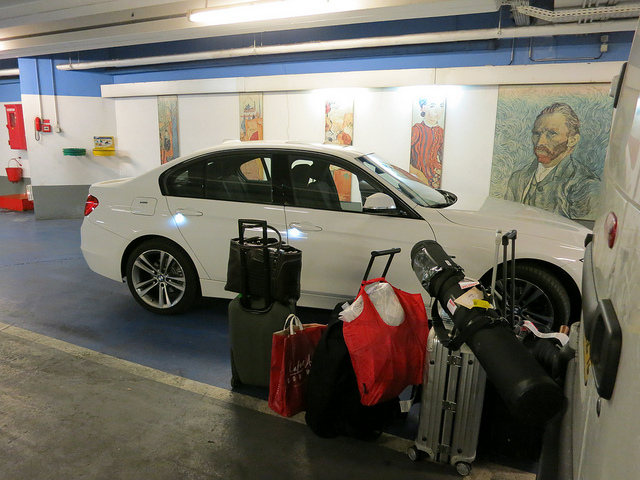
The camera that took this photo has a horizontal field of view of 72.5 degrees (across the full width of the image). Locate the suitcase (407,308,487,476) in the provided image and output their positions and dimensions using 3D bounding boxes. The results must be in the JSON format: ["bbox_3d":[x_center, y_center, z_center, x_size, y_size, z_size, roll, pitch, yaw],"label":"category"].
[{"bbox_3d":[0.810,0.926,2.955,0.494,0.962,0.565,8,14,12],"label":"suitcase"}]

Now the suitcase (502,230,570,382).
[{"bbox_3d":[1.463,0.397,2.775,0.447,0.894,0.277,-3,-3,38],"label":"suitcase"}]

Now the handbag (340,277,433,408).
[{"bbox_3d":[0.451,0.698,2.983,0.695,0.816,0.385,-11,14,-34],"label":"handbag"}]

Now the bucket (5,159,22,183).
[{"bbox_3d":[-9.355,-2.080,13.131,0.353,0.698,0.786,-8,15,-44],"label":"bucket"}]

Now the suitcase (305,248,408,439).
[{"bbox_3d":[0.320,0.804,3.255,0.634,1.313,0.731,7,12,3],"label":"suitcase"}]

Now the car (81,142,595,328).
[{"bbox_3d":[-0.031,-0.209,4.863,4.906,1.779,2.260,0,8,10],"label":"car"}]

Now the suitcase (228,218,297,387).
[{"bbox_3d":[-0.546,0.553,3.543,0.549,1.318,0.616,6,16,-19],"label":"suitcase"}]

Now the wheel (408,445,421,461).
[{"bbox_3d":[0.636,1.403,2.868,0.044,0.091,0.088,7,-34,-30],"label":"wheel"}]

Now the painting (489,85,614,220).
[{"bbox_3d":[3.750,-1.426,7.076,1.571,2.059,0.380,4,10,10],"label":"painting"}]

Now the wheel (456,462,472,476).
[{"bbox_3d":[0.925,1.444,2.755,0.076,0.085,0.031,5,11,17],"label":"wheel"}]

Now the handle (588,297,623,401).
[{"bbox_3d":[0.920,0.357,1.386,0.037,0.211,0.282,8,11,26],"label":"handle"}]
